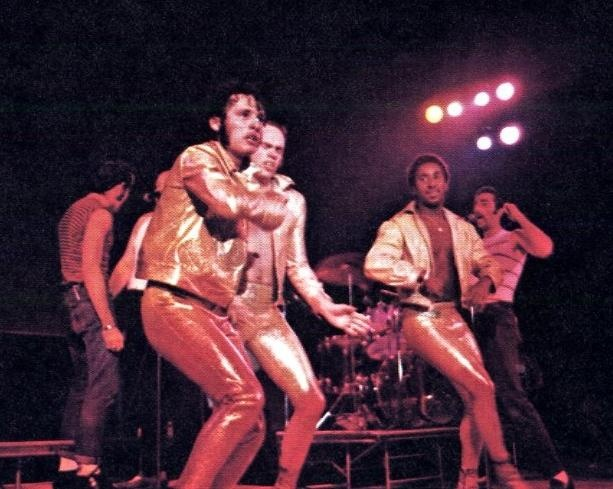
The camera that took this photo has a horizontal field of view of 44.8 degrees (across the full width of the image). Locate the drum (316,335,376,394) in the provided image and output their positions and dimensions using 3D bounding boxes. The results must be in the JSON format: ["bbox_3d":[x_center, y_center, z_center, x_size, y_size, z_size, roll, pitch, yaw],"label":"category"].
[{"bbox_3d":[0.231,0.733,4.662,0.353,0.332,0.317,5,-2,-6],"label":"drum"}]
